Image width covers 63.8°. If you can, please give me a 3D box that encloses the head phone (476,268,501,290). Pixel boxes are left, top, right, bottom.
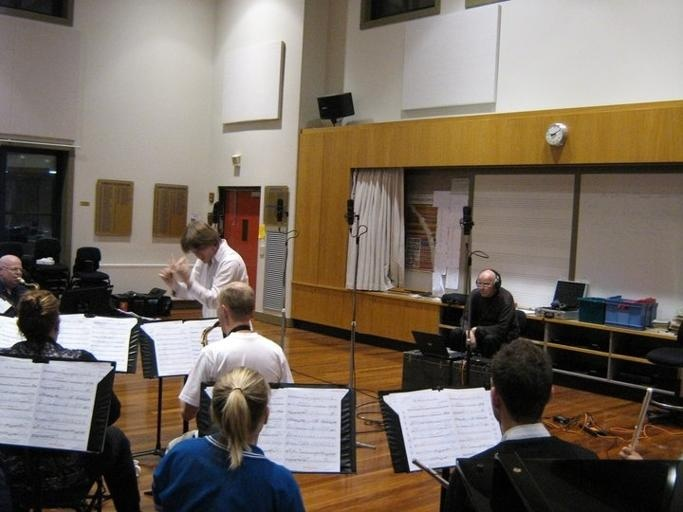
[{"bbox_3d":[1.814,0.284,6.768,0.242,0.240,0.101,-1,-5,22],"label":"head phone"}]

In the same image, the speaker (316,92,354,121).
[{"bbox_3d":[-0.088,-2.503,9.261,0.627,0.468,0.353,3,4,20],"label":"speaker"}]

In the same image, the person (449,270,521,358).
[{"bbox_3d":[1.760,0.884,6.735,0.869,1.368,0.666,4,0,-41],"label":"person"}]

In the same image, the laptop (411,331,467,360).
[{"bbox_3d":[1.010,0.967,5.554,0.376,0.259,0.388,-3,6,-39],"label":"laptop"}]

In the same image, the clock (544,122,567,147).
[{"bbox_3d":[2.641,-1.503,6.769,0.103,0.320,0.281,5,-7,-32],"label":"clock"}]

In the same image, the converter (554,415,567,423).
[{"bbox_3d":[2.177,1.623,5.479,0.061,0.032,0.088,0,0,-23],"label":"converter"}]

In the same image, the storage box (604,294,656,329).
[{"bbox_3d":[3.359,0.641,6.382,0.438,0.314,0.500,5,5,43],"label":"storage box"}]

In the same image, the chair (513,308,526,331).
[{"bbox_3d":[2.145,0.770,6.690,0.190,0.270,0.217,3,3,19],"label":"chair"}]

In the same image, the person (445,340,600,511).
[{"bbox_3d":[0.674,0.666,2.144,0.348,0.622,0.696,4,5,44],"label":"person"}]

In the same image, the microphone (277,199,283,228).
[{"bbox_3d":[-1.097,-0.831,9.771,0.133,0.403,0.084,3,4,34],"label":"microphone"}]

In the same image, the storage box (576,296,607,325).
[{"bbox_3d":[2.935,0.631,6.456,0.261,0.286,0.275,2,1,31],"label":"storage box"}]
